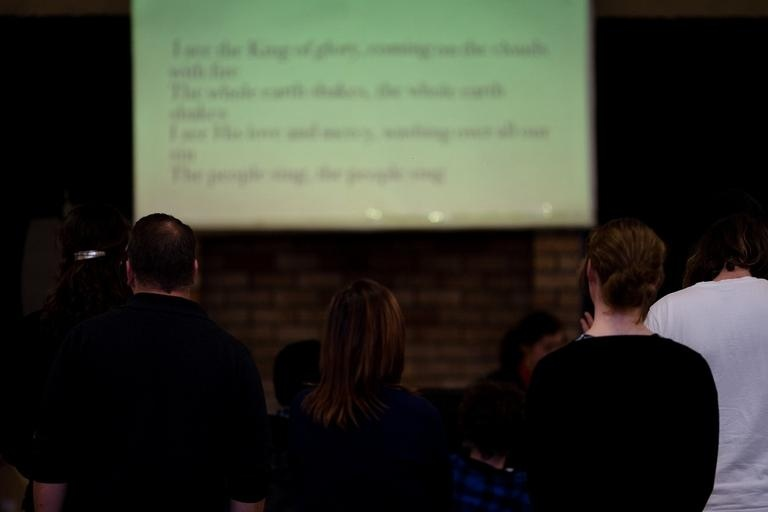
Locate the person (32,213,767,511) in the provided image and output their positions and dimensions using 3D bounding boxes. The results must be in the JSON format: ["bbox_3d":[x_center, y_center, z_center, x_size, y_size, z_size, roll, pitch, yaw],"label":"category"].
[{"bbox_3d":[0.629,0.487,4.120,2.424,1.346,0.530,-1,-1,-10],"label":"person"}]
